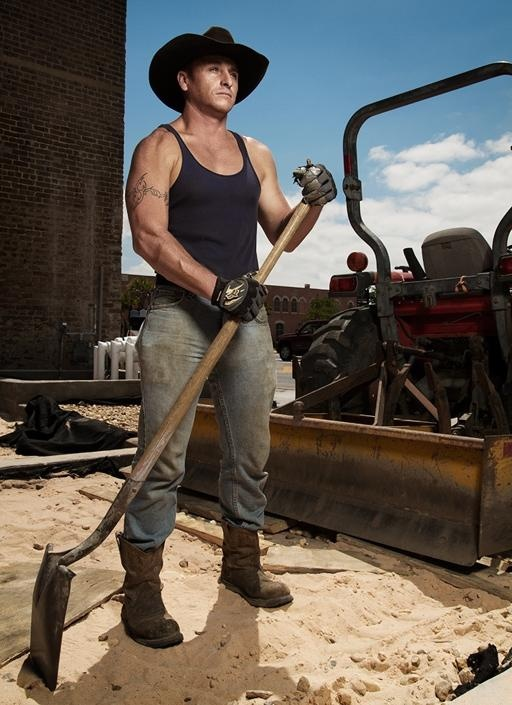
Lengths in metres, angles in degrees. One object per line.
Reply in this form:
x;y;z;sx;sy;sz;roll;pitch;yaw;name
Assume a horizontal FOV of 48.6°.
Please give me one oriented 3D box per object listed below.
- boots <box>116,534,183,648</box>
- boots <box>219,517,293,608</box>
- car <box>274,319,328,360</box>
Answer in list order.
-0.387;0.856;2.075;0.199;0.342;0.379;2;-2;-30;boots
-0.009;0.885;2.410;0.377;0.294;0.152;-1;-3;43;boots
1.502;-0.514;20.883;2.295;0.948;1.079;1;1;32;car
